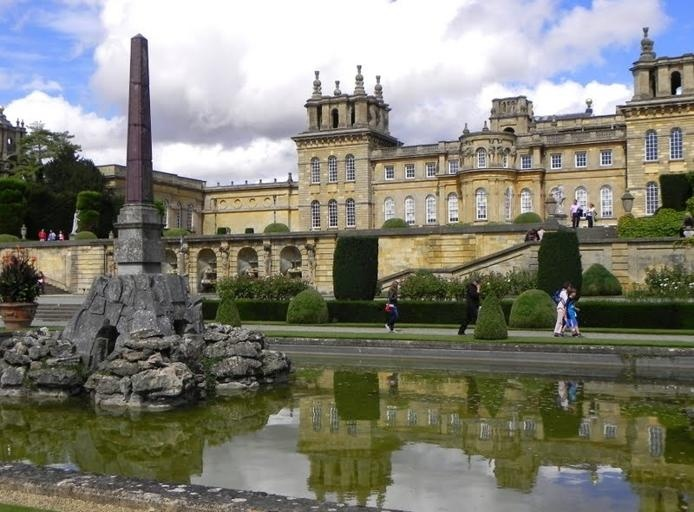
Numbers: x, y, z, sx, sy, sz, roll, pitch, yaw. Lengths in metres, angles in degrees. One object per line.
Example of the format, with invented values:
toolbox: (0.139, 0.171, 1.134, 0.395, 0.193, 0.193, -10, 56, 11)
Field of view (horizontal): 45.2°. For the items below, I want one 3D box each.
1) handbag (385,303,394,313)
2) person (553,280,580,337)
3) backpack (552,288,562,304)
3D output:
handbag: (1.189, 1.544, 24.675, 0.362, 0.263, 0.366, 1, -7, 11)
person: (5.987, 1.462, 22.901, 0.665, 1.445, 1.718, -1, -4, 14)
backpack: (6.069, 1.159, 24.065, 0.227, 0.443, 0.328, 9, 19, 15)
